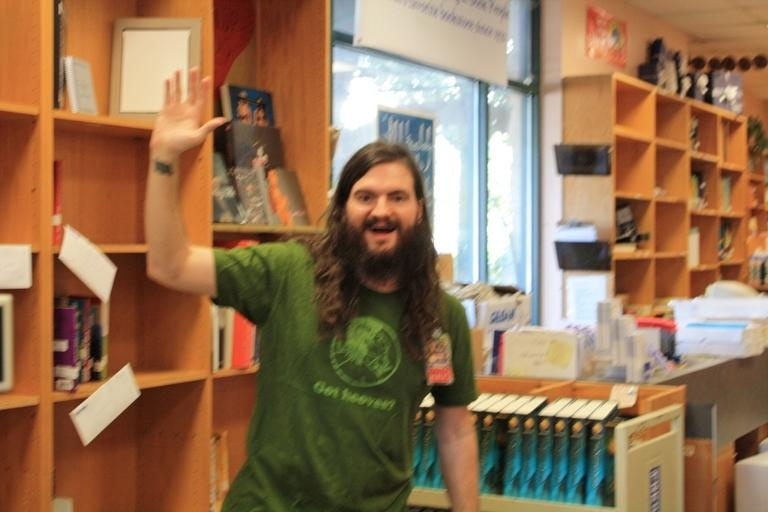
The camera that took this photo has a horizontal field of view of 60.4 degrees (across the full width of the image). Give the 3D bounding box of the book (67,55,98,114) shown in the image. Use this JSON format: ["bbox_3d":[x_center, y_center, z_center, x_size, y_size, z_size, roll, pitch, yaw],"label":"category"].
[{"bbox_3d":[-1.383,-0.771,2.999,0.147,0.240,0.055,4,-2,-44],"label":"book"}]

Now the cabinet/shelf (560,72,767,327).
[{"bbox_3d":[2.330,-0.485,5.374,0.548,1.944,2.123,-4,-4,39],"label":"cabinet/shelf"}]
